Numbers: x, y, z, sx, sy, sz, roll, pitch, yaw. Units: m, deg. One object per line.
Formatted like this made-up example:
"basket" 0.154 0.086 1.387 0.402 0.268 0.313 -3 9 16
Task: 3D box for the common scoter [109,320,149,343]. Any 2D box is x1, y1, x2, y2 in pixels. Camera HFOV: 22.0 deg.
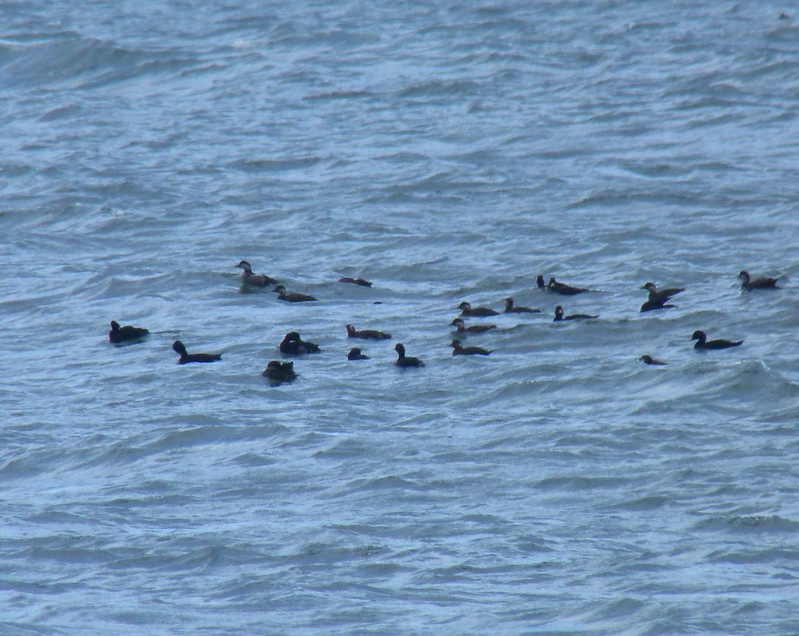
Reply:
"common scoter" -6.487 0.403 49.489 1.053 0.495 0.452 -4 107 -20

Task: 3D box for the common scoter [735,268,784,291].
"common scoter" 8.698 -0.812 50.323 1.476 0.420 0.533 1 92 35
